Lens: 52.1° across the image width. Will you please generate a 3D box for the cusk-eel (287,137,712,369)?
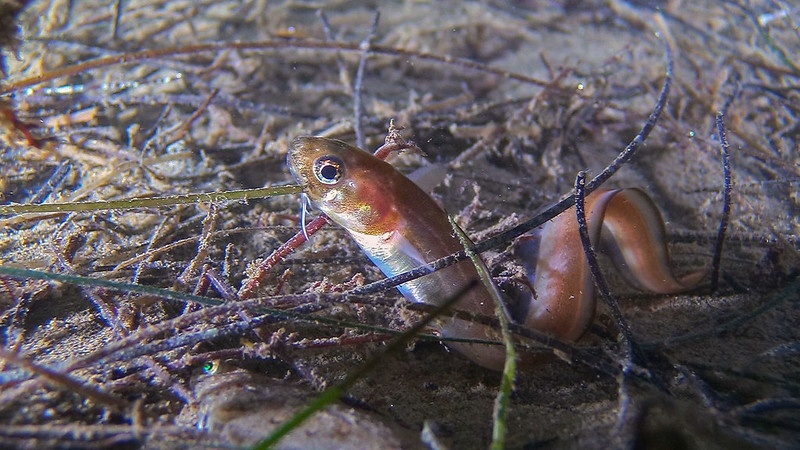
[{"bbox_3d":[0.669,0.153,6.533,3.318,1.291,0.843,16,34,1],"label":"cusk-eel"}]
